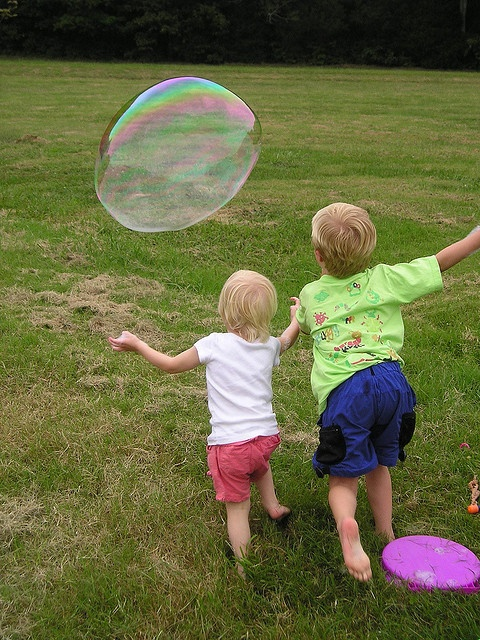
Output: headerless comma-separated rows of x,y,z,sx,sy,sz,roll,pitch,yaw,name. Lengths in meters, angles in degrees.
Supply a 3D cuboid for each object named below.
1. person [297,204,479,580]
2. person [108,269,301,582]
0.430,0.112,2.629,0.789,1.448,1.119,0,14,8,person
-0.167,0.487,2.997,1.027,1.536,0.481,-3,6,-21,person
